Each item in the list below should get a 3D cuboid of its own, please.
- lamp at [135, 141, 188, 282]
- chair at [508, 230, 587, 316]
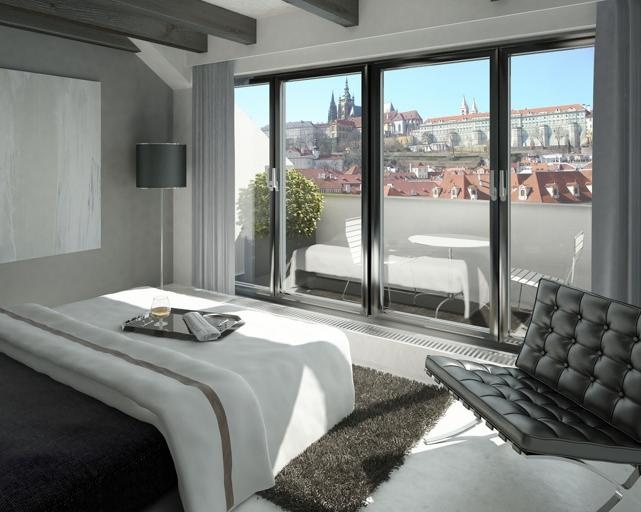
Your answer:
[{"bbox_3d":[-1.794,-0.396,5.109,0.573,1.672,0.486,15,19,43],"label":"lamp"},{"bbox_3d":[1.687,0.144,3.516,0.482,0.722,0.365,13,16,37],"label":"chair"}]
